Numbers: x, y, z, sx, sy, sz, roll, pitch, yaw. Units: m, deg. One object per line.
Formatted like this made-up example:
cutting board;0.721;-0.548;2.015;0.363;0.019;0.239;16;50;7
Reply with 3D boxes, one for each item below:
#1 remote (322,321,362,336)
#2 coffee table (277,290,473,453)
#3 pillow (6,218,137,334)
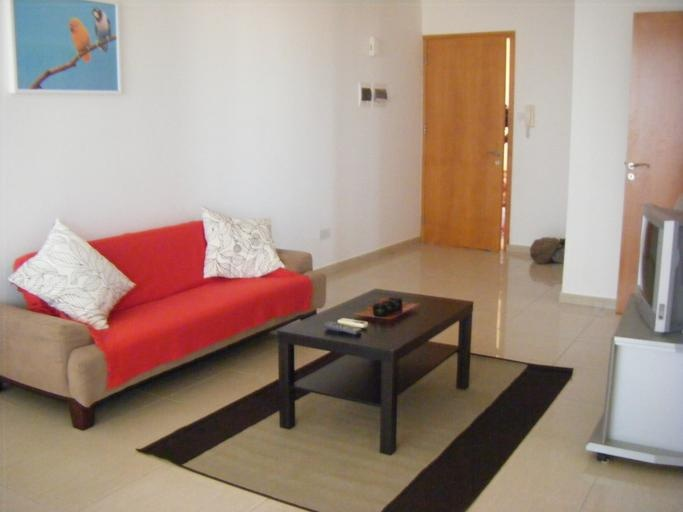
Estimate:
remote;0.010;0.415;3.017;0.156;0.036;0.082;3;9;22
coffee table;0.275;0.666;3.413;0.774;0.593;1.214;4;9;30
pillow;-1.712;0.136;3.366;0.570;0.513;0.467;-1;19;3
